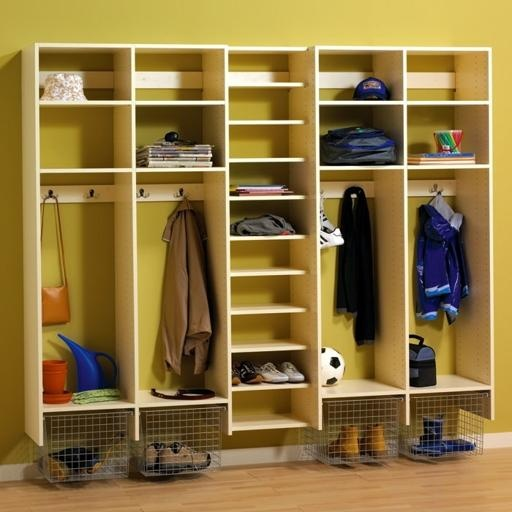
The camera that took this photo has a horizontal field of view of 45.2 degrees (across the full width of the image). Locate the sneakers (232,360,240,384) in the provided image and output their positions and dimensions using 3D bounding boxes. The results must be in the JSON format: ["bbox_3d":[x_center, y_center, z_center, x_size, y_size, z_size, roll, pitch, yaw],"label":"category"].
[{"bbox_3d":[-0.128,0.740,3.867,0.065,0.100,0.216,1,-5,-5],"label":"sneakers"}]

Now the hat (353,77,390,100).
[{"bbox_3d":[0.729,-1.044,3.912,0.205,0.156,0.120,0,-1,7],"label":"hat"}]

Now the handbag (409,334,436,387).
[{"bbox_3d":[1.085,0.697,4.031,0.123,0.253,0.279,0,2,-4],"label":"handbag"}]

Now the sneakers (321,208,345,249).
[{"bbox_3d":[0.513,-0.134,3.874,0.092,0.182,0.327,-2,8,-10],"label":"sneakers"}]

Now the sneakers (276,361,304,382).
[{"bbox_3d":[0.214,0.742,3.953,0.072,0.096,0.204,12,-1,-31],"label":"sneakers"}]

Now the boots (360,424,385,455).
[{"bbox_3d":[0.763,1.213,4.064,0.086,0.211,0.273,0,2,-10],"label":"boots"}]

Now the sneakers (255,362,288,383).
[{"bbox_3d":[0.101,0.749,3.894,0.205,0.109,0.181,0,-1,0],"label":"sneakers"}]

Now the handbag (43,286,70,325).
[{"bbox_3d":[-1.222,0.306,3.739,0.206,0.303,0.090,0,-3,-37],"label":"handbag"}]

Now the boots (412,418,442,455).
[{"bbox_3d":[1.130,1.217,4.179,0.167,0.230,0.235,-15,-16,5],"label":"boots"}]

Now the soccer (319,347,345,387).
[{"bbox_3d":[0.467,0.714,3.923,0.200,0.239,0.094,1,-2,-40],"label":"soccer"}]

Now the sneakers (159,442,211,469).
[{"bbox_3d":[-0.438,1.204,3.756,0.346,0.175,0.123,0,3,-9],"label":"sneakers"}]

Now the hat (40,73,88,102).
[{"bbox_3d":[-1.105,-0.949,3.572,0.200,0.128,0.217,0,6,-6],"label":"hat"}]

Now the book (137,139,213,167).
[{"bbox_3d":[-0.499,-0.594,3.654,0.462,0.173,0.194,0,-1,-1],"label":"book"}]

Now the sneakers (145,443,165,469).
[{"bbox_3d":[-0.621,1.196,3.768,0.102,0.217,0.141,4,-3,-9],"label":"sneakers"}]

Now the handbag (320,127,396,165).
[{"bbox_3d":[0.643,-0.684,3.874,0.461,0.246,0.201,0,-1,11],"label":"handbag"}]
